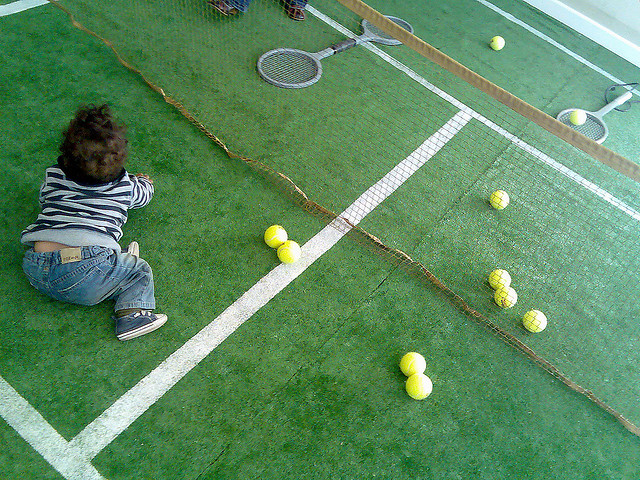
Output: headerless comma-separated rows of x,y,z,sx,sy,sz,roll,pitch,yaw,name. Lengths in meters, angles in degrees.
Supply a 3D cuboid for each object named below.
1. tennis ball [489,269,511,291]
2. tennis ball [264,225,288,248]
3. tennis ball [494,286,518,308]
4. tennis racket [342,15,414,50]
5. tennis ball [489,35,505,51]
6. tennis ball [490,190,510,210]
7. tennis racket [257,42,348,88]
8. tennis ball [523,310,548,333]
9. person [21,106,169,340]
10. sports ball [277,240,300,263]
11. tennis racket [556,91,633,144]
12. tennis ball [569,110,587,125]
1.623,0.354,5.616,0.175,0.176,0.098,60,18,4,tennis ball
-0.401,-0.051,5.624,0.192,0.189,0.193,2,15,0,tennis ball
1.668,0.510,5.613,0.188,0.103,0.187,0,44,0,tennis ball
0.649,-2.550,7.649,1.464,0.071,0.620,-25,47,-37,tennis racket
2.281,-2.567,8.052,0.198,0.108,0.195,0,101,-1,tennis ball
1.788,-0.399,6.192,0.123,0.122,0.123,9,63,-18,tennis ball
-0.331,-1.933,6.940,0.670,0.170,0.662,40,52,2,tennis racket
1.901,0.713,5.515,0.192,0.192,0.097,39,17,2,tennis ball
-1.872,-0.063,5.282,1.223,1.176,1.913,7,69,-22,person
-0.291,0.090,5.574,0.188,0.186,0.185,12,12,-3,sports ball
3.260,-1.451,7.393,1.347,0.083,0.602,-34,63,-30,tennis racket
2.984,-1.440,7.187,0.168,0.094,0.165,-7,60,12,tennis ball
